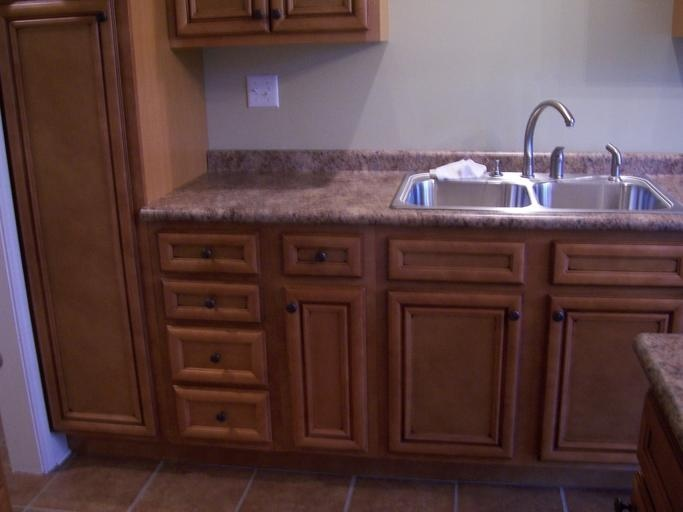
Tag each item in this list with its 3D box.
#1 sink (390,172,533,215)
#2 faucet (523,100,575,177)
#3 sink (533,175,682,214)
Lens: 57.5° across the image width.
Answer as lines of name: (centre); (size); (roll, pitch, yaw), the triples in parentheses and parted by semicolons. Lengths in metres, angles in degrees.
sink: (0.454, -0.203, 2.327); (0.475, 0.130, 0.491); (2, 18, 17)
faucet: (0.776, -0.437, 2.370); (0.074, 0.299, 0.274); (-8, 18, -16)
sink: (1.010, -0.241, 2.357); (0.281, 0.114, 0.224); (-1, 32, 1)
